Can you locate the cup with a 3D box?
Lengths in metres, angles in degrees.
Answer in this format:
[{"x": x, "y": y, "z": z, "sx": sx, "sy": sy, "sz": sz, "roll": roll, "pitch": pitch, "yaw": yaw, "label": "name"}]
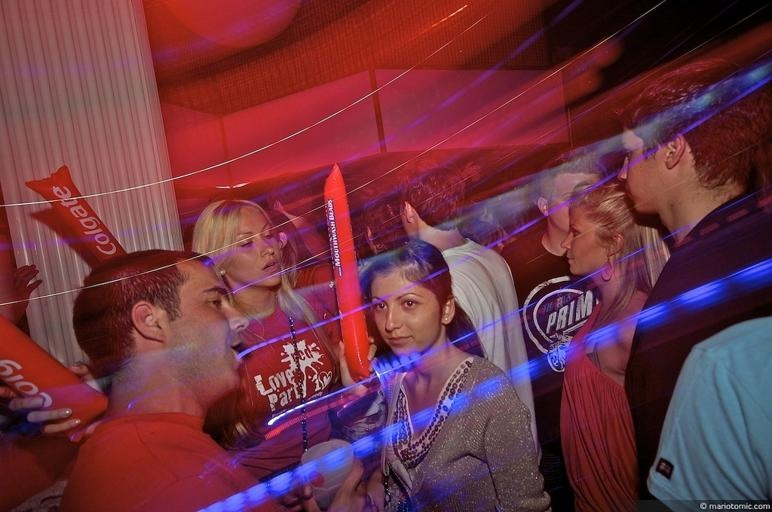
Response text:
[{"x": -0.250, "y": 0.958, "z": 2.718, "sx": 0.284, "sy": 0.239, "sz": 0.216, "roll": -1, "pitch": -13, "yaw": -31, "label": "cup"}]
